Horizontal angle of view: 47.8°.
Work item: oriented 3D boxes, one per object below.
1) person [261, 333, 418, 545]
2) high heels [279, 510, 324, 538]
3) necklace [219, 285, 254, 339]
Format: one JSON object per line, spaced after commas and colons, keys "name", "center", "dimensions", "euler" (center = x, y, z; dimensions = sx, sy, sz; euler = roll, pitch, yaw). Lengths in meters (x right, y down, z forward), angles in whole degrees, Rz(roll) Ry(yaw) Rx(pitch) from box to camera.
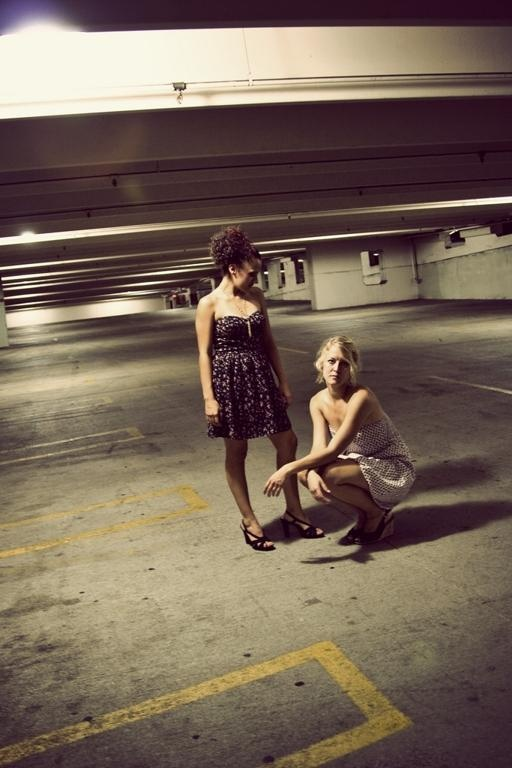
{"name": "person", "center": [0.428, 0.297, 2.872], "dimensions": [0.650, 1.045, 0.417], "euler": [-6, 7, 7]}
{"name": "high heels", "center": [0.246, 0.766, 3.198], "dimensions": [0.292, 0.174, 0.100], "euler": [-5, 3, 21]}
{"name": "necklace", "center": [-0.111, -0.339, 2.855], "dimensions": [0.211, 0.130, 0.111], "euler": [-8, -15, -18]}
